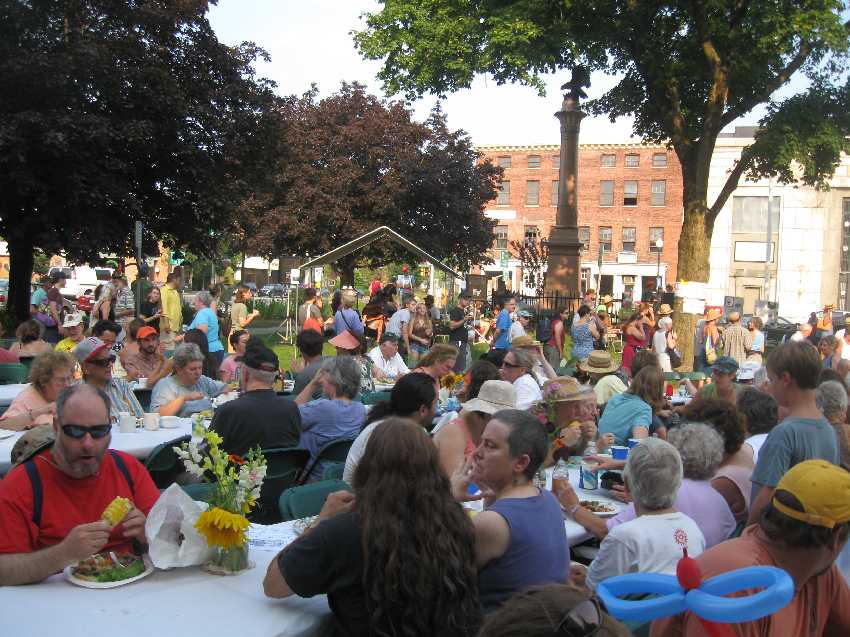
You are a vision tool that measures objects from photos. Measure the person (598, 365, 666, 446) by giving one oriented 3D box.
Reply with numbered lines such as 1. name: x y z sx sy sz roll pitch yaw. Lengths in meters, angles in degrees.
1. person: 1.991 0.859 8.756 0.408 0.767 0.296 19 7 -37

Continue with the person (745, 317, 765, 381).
1. person: 5.979 0.634 16.641 0.383 1.461 0.398 -2 31 17

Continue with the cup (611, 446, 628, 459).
1. cup: 1.662 1.149 7.794 0.091 0.091 0.112 3 -7 -29

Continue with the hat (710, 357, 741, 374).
1. hat: 3.556 0.562 10.771 0.281 0.175 0.412 2 7 17

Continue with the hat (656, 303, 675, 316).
1. hat: 5.712 -0.201 21.639 0.420 0.186 0.493 -27 -3 5

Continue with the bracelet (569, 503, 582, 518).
1. bracelet: 1.102 1.403 6.683 0.060 0.089 0.084 21 28 28

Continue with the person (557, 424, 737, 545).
1. person: 1.630 1.165 6.713 0.764 0.497 1.028 -2 -8 -36

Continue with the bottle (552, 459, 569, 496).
1. bottle: 1.076 1.271 7.274 0.155 0.289 0.161 1 -5 0

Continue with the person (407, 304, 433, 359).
1. person: -0.069 0.446 17.103 0.438 1.583 0.434 -2 27 -9

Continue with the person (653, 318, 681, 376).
1. person: 4.598 0.719 17.416 0.409 1.478 0.446 -13 16 -31

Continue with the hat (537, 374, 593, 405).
1. hat: 1.272 0.672 8.238 0.327 0.275 0.666 4 8 21

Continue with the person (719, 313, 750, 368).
1. person: 5.762 0.549 16.914 0.532 1.550 0.443 10 41 30

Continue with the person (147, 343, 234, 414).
1. person: -2.394 0.671 9.459 0.682 0.818 0.858 6 9 24

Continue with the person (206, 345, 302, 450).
1. person: -1.391 0.547 7.829 0.849 1.388 0.719 0 2 -20

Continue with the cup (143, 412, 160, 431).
1. cup: -2.591 0.975 8.624 0.101 0.133 0.172 1 8 -13

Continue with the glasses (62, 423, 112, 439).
1. glasses: -2.047 0.684 5.517 0.271 0.100 0.064 -3 8 -27

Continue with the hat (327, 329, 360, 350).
1. hat: -1.005 0.286 11.725 0.359 0.211 0.579 0 8 -9

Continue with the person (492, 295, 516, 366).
1. person: 1.393 0.381 16.722 0.262 1.332 0.468 12 18 18

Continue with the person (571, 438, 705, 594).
1. person: 1.399 1.241 6.092 0.718 1.194 0.892 -2 3 -19

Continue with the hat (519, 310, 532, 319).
1. hat: 2.114 -0.083 19.141 0.269 0.150 0.415 4 5 36
